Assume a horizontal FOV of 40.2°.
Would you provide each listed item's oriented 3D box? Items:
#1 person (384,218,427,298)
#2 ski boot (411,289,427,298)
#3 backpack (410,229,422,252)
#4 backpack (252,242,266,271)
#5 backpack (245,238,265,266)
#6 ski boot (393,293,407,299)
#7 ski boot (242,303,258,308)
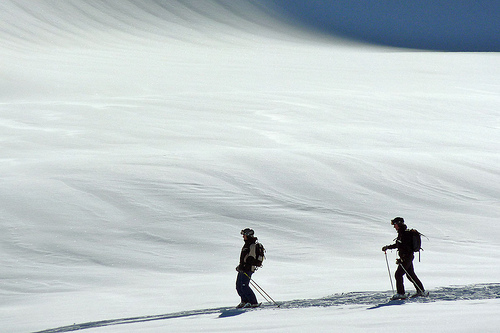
[{"bbox_3d":[4.059,2.394,18.165,0.770,2.089,0.679,-13,-16,7],"label":"person"},{"bbox_3d":[4.451,3.326,18.020,0.410,0.178,0.297,-7,-12,6],"label":"ski boot"},{"bbox_3d":[4.425,1.932,18.116,0.291,0.604,0.479,-13,-15,12],"label":"backpack"},{"bbox_3d":[0.209,2.366,18.333,0.355,0.711,0.498,-10,-14,0],"label":"backpack"},{"bbox_3d":[0.090,2.246,18.155,0.545,0.731,0.241,-8,-16,-4],"label":"backpack"},{"bbox_3d":[3.917,3.369,17.862,0.274,0.076,0.121,-1,13,5],"label":"ski boot"},{"bbox_3d":[-0.015,3.639,18.102,0.373,0.118,0.146,-7,-12,11],"label":"ski boot"}]
